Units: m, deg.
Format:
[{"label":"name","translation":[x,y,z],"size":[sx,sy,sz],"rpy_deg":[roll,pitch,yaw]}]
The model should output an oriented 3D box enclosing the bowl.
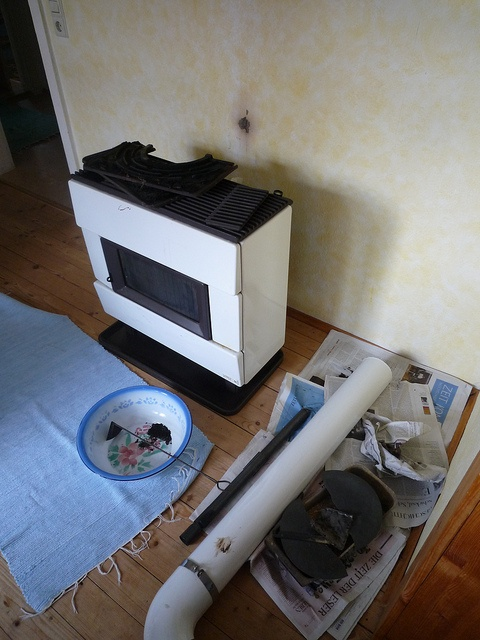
[{"label":"bowl","translation":[-0.250,0.304,1.329],"size":[0.264,0.103,0.263],"rpy_deg":[-15,45,16]}]
